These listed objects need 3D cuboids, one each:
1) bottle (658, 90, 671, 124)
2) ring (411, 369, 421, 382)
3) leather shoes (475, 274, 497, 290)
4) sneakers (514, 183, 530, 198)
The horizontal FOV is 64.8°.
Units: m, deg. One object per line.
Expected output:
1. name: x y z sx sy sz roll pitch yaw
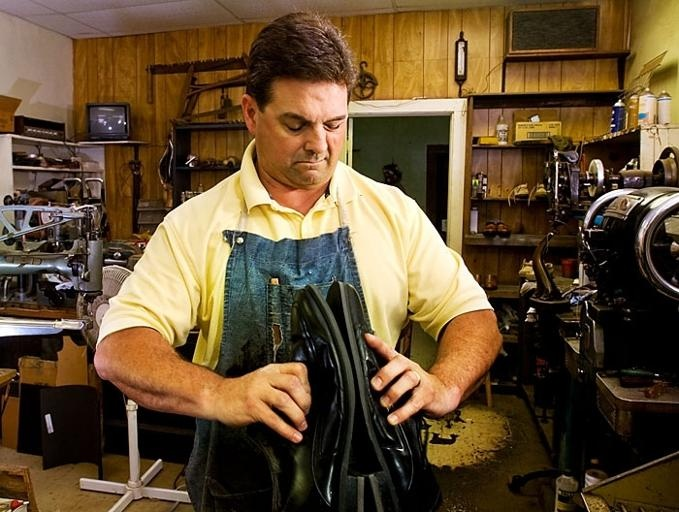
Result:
1. bottle: 2.266 -1.045 3.750 0.084 0.227 0.251 6 12 28
2. ring: 0.214 0.338 1.514 0.012 0.029 0.022 -29 -24 16
3. leather shoes: 1.385 0.228 5.052 0.202 0.150 0.205 -1 -1 4
4. sneakers: 1.704 -0.615 5.012 0.096 0.083 0.199 -2 1 2
